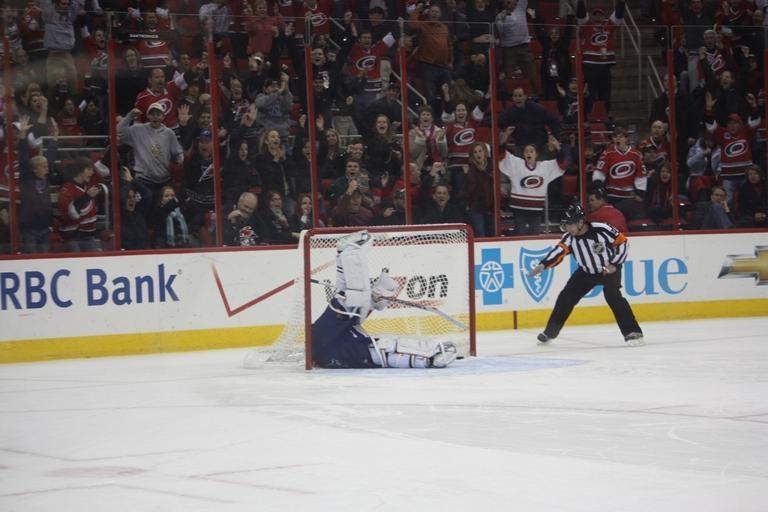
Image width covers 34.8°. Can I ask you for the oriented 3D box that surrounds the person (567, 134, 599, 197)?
[{"bbox_3d":[2.833,-1.304,17.706,0.618,0.780,0.276,-3,12,-22],"label":"person"}]

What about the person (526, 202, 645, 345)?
[{"bbox_3d":[2.756,0.237,16.453,1.319,1.865,0.509,-3,7,7],"label":"person"}]

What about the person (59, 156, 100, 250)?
[{"bbox_3d":[-4.072,-0.756,16.194,0.507,1.417,0.510,14,35,14],"label":"person"}]

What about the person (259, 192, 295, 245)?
[{"bbox_3d":[-1.495,-0.528,16.766,0.477,0.760,0.370,-5,7,-6],"label":"person"}]

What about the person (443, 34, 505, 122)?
[{"bbox_3d":[1.142,-2.502,17.132,0.682,1.159,0.212,-7,7,-22],"label":"person"}]

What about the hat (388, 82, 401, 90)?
[{"bbox_3d":[0.153,-2.360,16.896,0.099,0.112,0.125,0,17,-11],"label":"hat"}]

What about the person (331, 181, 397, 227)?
[{"bbox_3d":[-0.294,-0.661,16.883,0.586,0.609,0.758,-10,16,-18],"label":"person"}]

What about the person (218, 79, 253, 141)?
[{"bbox_3d":[-1.988,-1.967,16.531,0.465,0.777,0.260,-2,10,-19],"label":"person"}]

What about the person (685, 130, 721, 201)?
[{"bbox_3d":[4.791,-1.227,18.167,0.532,1.246,0.513,-2,10,-19],"label":"person"}]

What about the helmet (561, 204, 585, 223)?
[{"bbox_3d":[2.527,-0.557,16.350,0.236,0.238,0.286,-10,9,-39],"label":"helmet"}]

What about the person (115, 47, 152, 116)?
[{"bbox_3d":[-3.368,-2.363,16.235,0.835,0.910,0.269,-5,16,-24],"label":"person"}]

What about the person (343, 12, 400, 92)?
[{"bbox_3d":[-0.245,-2.529,16.933,0.927,1.496,0.453,0,-5,-1],"label":"person"}]

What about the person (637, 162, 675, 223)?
[{"bbox_3d":[3.952,-0.936,18.191,0.607,0.768,0.256,-7,19,-41],"label":"person"}]

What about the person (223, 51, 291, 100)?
[{"bbox_3d":[-1.719,-2.486,16.577,0.801,0.655,0.569,-12,29,-15],"label":"person"}]

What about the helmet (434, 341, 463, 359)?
[{"bbox_3d":[0.788,1.185,15.236,0.262,0.131,0.366,1,-1,0],"label":"helmet"}]

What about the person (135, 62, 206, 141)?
[{"bbox_3d":[-2.918,-2.096,16.366,0.713,1.071,0.346,-21,29,-27],"label":"person"}]

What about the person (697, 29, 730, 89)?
[{"bbox_3d":[4.830,-2.935,17.966,0.494,0.822,0.149,-7,7,-26],"label":"person"}]

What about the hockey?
[{"bbox_3d":[0.054,0.612,15.673,1.811,0.252,0.242,13,39,1],"label":"hockey"}]

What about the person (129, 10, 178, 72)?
[{"bbox_3d":[-3.056,-2.855,16.203,0.664,0.726,0.259,-8,4,-5],"label":"person"}]

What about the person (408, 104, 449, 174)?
[{"bbox_3d":[0.634,-1.532,17.295,0.532,1.164,0.437,-4,24,1],"label":"person"}]

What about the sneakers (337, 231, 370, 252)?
[{"bbox_3d":[-0.382,-0.178,15.067,0.311,0.130,0.256,-18,12,-15],"label":"sneakers"}]

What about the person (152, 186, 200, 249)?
[{"bbox_3d":[-2.883,-0.518,16.550,0.517,0.798,0.319,-8,22,-19],"label":"person"}]
